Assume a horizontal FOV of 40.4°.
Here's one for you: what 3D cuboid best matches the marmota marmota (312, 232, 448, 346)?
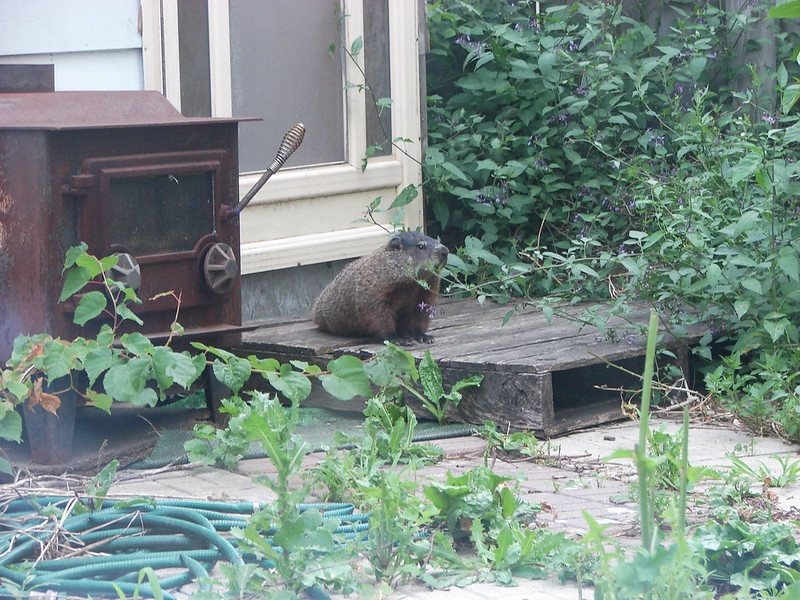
[{"bbox_3d":[-0.104,-0.074,6.190,0.938,0.663,0.581,0,0,42],"label":"marmota marmota"}]
